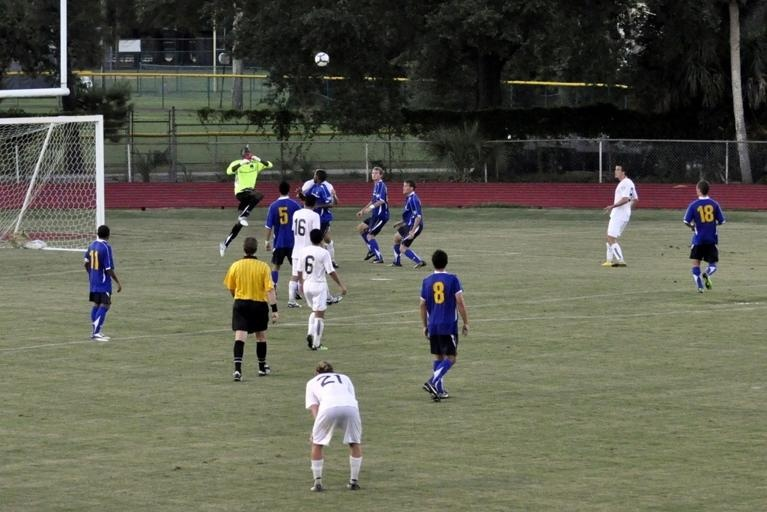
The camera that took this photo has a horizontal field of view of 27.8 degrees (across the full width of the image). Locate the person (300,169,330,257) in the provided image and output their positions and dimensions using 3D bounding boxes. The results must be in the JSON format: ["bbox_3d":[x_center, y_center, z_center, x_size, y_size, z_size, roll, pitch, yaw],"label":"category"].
[{"bbox_3d":[-1.983,-1.362,46.100,1.210,2.295,0.883,6,-2,18],"label":"person"}]

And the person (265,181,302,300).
[{"bbox_3d":[-2.906,-0.603,43.489,1.153,2.948,1.390,1,0,0],"label":"person"}]

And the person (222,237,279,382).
[{"bbox_3d":[-3.215,1.274,37.957,0.984,3.446,1.060,2,6,42],"label":"person"}]

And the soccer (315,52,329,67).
[{"bbox_3d":[-2.740,-8.904,70.167,0.713,0.361,0.650,8,25,19],"label":"soccer"}]

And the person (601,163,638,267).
[{"bbox_3d":[7.295,-1.253,47.973,1.438,3.195,1.200,6,-4,-39],"label":"person"}]

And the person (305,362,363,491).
[{"bbox_3d":[-1.119,3.751,34.496,1.151,2.841,0.502,-2,5,-3],"label":"person"}]

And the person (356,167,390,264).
[{"bbox_3d":[-0.333,-1.279,48.086,1.247,2.916,1.165,2,1,-19],"label":"person"}]

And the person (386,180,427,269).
[{"bbox_3d":[0.720,-1.016,47.642,0.994,2.642,1.401,-2,4,0],"label":"person"}]

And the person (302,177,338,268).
[{"bbox_3d":[-1.983,-1.099,46.531,1.441,2.793,1.161,-2,5,-16],"label":"person"}]

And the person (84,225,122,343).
[{"bbox_3d":[-6.983,0.733,40.344,1.190,2.861,1.384,0,-2,-14],"label":"person"}]

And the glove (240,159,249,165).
[{"bbox_3d":[-4.573,-3.103,50.942,0.298,0.172,0.436,-2,4,-5],"label":"glove"}]
